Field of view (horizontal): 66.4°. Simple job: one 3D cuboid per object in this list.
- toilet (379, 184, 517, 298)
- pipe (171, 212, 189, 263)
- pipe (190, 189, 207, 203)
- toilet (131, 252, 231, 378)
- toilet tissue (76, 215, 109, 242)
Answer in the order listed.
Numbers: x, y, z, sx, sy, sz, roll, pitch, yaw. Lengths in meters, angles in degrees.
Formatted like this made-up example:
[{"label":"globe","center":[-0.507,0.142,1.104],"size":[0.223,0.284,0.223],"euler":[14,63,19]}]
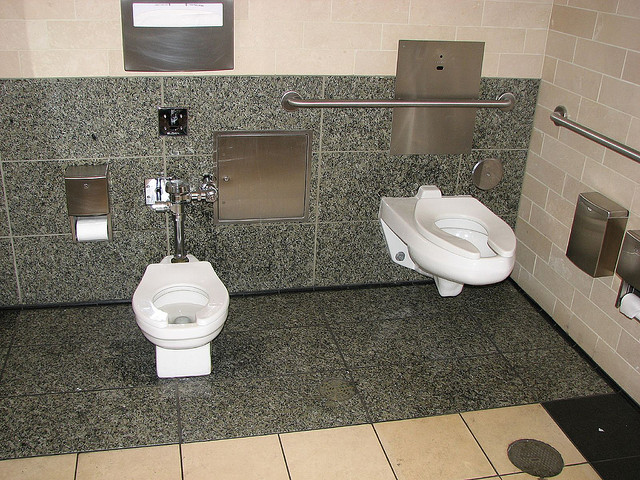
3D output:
[{"label":"toilet","center":[0.714,0.078,2.711],"size":[0.564,0.477,0.778],"euler":[-5,32,-13]},{"label":"pipe","center":[-0.748,-0.006,2.566],"size":[0.096,0.245,0.177],"euler":[-7,26,-15]},{"label":"pipe","center":[-0.645,-0.239,2.576],"size":[0.093,0.051,0.034],"euler":[-3,5,-8]},{"label":"toilet","center":[-0.691,0.367,2.406],"size":[0.420,0.388,0.581],"euler":[-3,32,-20]},{"label":"toilet tissue","center":[-1.207,-0.051,2.578],"size":[0.177,0.163,0.129],"euler":[-2,3,-1]}]
